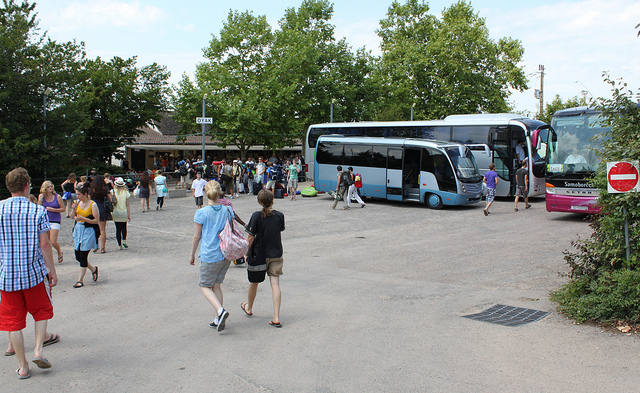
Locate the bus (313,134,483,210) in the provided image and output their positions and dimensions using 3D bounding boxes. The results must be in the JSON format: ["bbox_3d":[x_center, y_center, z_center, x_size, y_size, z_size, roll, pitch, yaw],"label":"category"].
[{"bbox_3d":[4.328,-1.562,27.126,9.020,3.806,3.805,3,7,32],"label":"bus"}]

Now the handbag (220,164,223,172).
[{"bbox_3d":[-5.638,-1.672,27.155,0.105,0.353,0.490,-4,10,-20],"label":"handbag"}]

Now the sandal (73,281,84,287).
[{"bbox_3d":[-5.845,2.110,11.479,0.381,0.150,0.127,3,-4,-35],"label":"sandal"}]

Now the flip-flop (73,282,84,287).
[{"bbox_3d":[-5.835,2.115,11.458,0.344,0.137,0.114,4,-1,-23],"label":"flip-flop"}]

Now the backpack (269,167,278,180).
[{"bbox_3d":[-2.507,-1.349,27.297,0.674,0.640,0.484,2,0,35],"label":"backpack"}]

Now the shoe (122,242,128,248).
[{"bbox_3d":[-6.293,1.528,15.331,0.147,0.173,0.250,-5,11,-23],"label":"shoe"}]

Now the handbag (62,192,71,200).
[{"bbox_3d":[-11.472,-0.044,21.501,0.340,0.454,0.477,-2,2,-2],"label":"handbag"}]

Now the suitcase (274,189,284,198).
[{"bbox_3d":[-2.473,-0.233,28.657,0.739,0.405,0.512,4,-1,13],"label":"suitcase"}]

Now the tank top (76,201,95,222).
[{"bbox_3d":[-5.785,0.303,11.661,0.448,0.320,0.194,1,10,10],"label":"tank top"}]

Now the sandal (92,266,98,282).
[{"bbox_3d":[-5.624,1.949,11.905,0.121,0.316,0.085,4,5,8],"label":"sandal"}]

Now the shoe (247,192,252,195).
[{"bbox_3d":[-4.500,-0.240,30.451,0.201,0.130,0.409,-6,11,-29],"label":"shoe"}]

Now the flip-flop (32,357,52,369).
[{"bbox_3d":[-4.492,2.693,7.746,0.159,0.298,0.105,-28,31,23],"label":"flip-flop"}]

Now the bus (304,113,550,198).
[{"bbox_3d":[6.203,-2.081,29.673,15.169,4.566,3.670,1,9,34],"label":"bus"}]

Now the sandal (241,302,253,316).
[{"bbox_3d":[-1.480,2.292,9.687,0.121,0.083,0.305,-13,46,-24],"label":"sandal"}]

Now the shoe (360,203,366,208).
[{"bbox_3d":[2.249,0.440,24.862,0.155,0.122,0.366,14,-10,-17],"label":"shoe"}]

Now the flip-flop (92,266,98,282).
[{"bbox_3d":[-5.639,1.932,11.931,0.127,0.334,0.090,4,9,-2],"label":"flip-flop"}]

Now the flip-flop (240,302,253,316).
[{"bbox_3d":[-1.507,2.313,9.752,0.118,0.081,0.290,-1,33,-27],"label":"flip-flop"}]

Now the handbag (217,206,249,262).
[{"bbox_3d":[-1.715,0.733,9.225,0.544,1.052,0.476,-6,-5,-41],"label":"handbag"}]

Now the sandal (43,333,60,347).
[{"bbox_3d":[-4.877,2.591,8.614,0.096,0.073,0.250,7,15,27],"label":"sandal"}]

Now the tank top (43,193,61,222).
[{"bbox_3d":[-7.267,0.284,12.865,0.347,0.695,0.611,-9,13,-40],"label":"tank top"}]

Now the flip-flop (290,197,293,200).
[{"bbox_3d":[-1.698,0.095,28.578,0.172,0.161,0.293,-2,-10,-20],"label":"flip-flop"}]

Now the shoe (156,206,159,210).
[{"bbox_3d":[-8.199,0.548,23.996,0.145,0.147,0.108,-6,11,-29],"label":"shoe"}]

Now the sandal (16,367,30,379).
[{"bbox_3d":[-4.795,2.851,7.667,0.170,0.114,0.419,2,-2,-27],"label":"sandal"}]

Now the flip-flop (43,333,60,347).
[{"bbox_3d":[-4.874,2.606,8.610,0.095,0.076,0.249,8,16,27],"label":"flip-flop"}]

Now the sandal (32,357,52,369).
[{"bbox_3d":[-4.492,2.690,7.753,0.169,0.316,0.111,-27,31,24],"label":"sandal"}]
